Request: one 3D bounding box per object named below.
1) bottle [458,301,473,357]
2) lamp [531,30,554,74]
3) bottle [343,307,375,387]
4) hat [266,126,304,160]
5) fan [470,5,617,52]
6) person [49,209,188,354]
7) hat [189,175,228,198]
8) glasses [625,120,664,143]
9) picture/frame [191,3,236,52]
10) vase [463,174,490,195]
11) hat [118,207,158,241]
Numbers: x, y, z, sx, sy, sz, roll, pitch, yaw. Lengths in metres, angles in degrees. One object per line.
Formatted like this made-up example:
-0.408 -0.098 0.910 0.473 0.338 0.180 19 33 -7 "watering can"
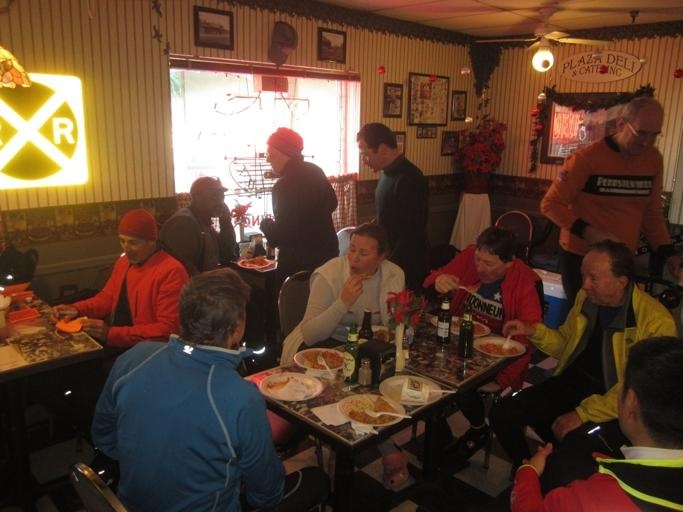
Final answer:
0.729 0.439 2.994 0.086 0.290 0.145 3 13 15 "bottle"
2.044 -2.093 5.197 0.174 0.349 0.176 -31 47 -12 "lamp"
0.097 0.469 2.824 0.136 0.337 0.407 0 13 3 "bottle"
-0.457 -0.936 4.291 0.264 0.170 0.239 13 19 -42 "hat"
2.495 -2.771 6.179 0.999 0.390 1.054 -2 16 -14 "fan"
-1.439 0.206 3.430 0.822 1.003 0.859 -3 11 -42 "person"
-1.191 -0.615 4.551 0.235 0.130 0.178 -8 8 -20 "hat"
1.992 -0.813 3.359 0.207 0.136 0.111 0 13 4 "glasses"
-1.277 -2.265 5.026 0.486 0.431 0.038 -8 17 -40 "picture/frame"
2.025 -1.074 7.726 0.327 0.226 0.340 2 2 6 "vase"
-1.369 -0.197 3.415 0.265 0.235 0.256 -1 -2 5 "hat"
